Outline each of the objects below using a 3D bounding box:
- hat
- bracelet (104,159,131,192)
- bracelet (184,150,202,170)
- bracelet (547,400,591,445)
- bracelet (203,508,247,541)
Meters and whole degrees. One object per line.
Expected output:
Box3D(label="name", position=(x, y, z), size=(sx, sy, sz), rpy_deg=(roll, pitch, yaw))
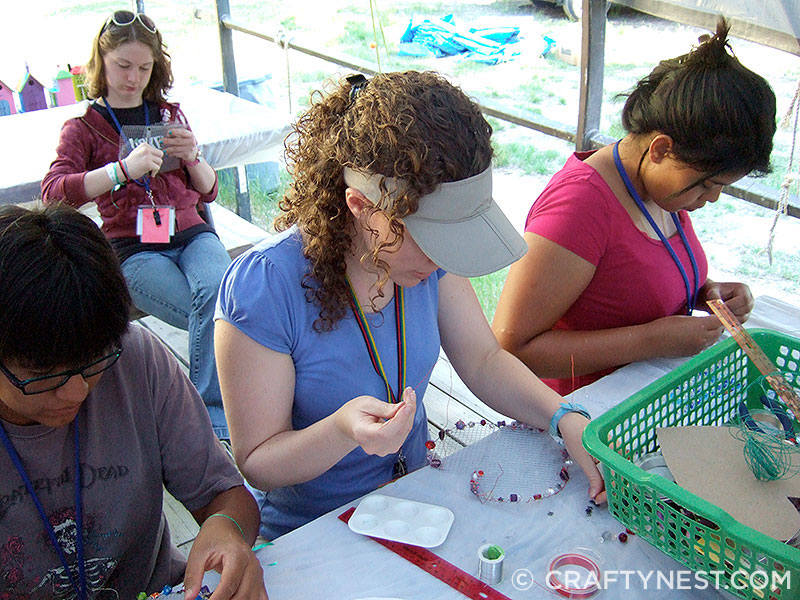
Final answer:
Box3D(label="hat", position=(0.083, -0.178, 1.391), size=(0.376, 0.125, 0.226), rpy_deg=(45, 44, 14))
Box3D(label="bracelet", position=(-1.356, -0.615, 2.974), size=(0.067, 0.150, 0.117), rpy_deg=(-12, 4, -43))
Box3D(label="bracelet", position=(-1.075, -0.746, 3.199), size=(0.089, 0.039, 0.068), rpy_deg=(-32, 31, -1))
Box3D(label="bracelet", position=(0.444, 0.305, 1.619), size=(0.109, 0.058, 0.081), rpy_deg=(-48, 40, -4))
Box3D(label="bracelet", position=(-0.394, 0.519, 1.389), size=(0.054, 0.074, 0.027), rpy_deg=(-30, 42, 23))
